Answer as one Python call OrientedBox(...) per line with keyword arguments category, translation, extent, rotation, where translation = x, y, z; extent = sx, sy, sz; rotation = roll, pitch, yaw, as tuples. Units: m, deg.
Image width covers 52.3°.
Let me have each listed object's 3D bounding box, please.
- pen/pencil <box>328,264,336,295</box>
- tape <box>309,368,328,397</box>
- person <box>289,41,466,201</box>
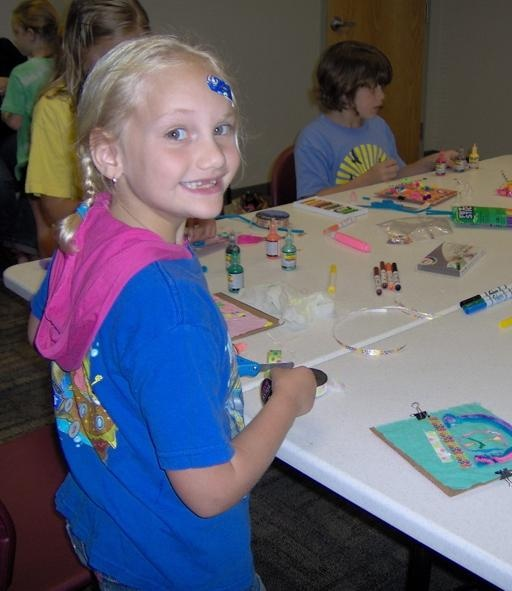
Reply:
OrientedBox(category="pen/pencil", translation=(0.188, -0.042, 1.285), extent=(0.018, 0.018, 0.100), rotation=(-24, 26, 29))
OrientedBox(category="tape", translation=(0.100, 0.139, 0.853), extent=(0.044, 0.024, 0.040), rotation=(5, 35, 10))
OrientedBox(category="person", translation=(0.604, -0.744, 2.604), extent=(0.868, 0.908, 0.641), rotation=(-17, 32, -33))
